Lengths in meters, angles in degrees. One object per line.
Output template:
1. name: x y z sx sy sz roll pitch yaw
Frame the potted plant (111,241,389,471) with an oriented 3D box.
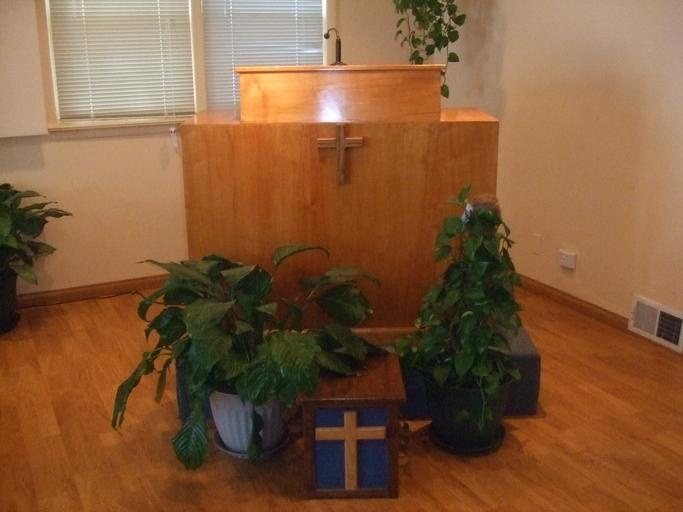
1. potted plant: -0.291 0.168 2.370 0.920 0.690 0.971 7 17 13

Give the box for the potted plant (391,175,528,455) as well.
1. potted plant: 0.524 0.263 2.290 0.486 1.119 0.439 -14 21 -36
